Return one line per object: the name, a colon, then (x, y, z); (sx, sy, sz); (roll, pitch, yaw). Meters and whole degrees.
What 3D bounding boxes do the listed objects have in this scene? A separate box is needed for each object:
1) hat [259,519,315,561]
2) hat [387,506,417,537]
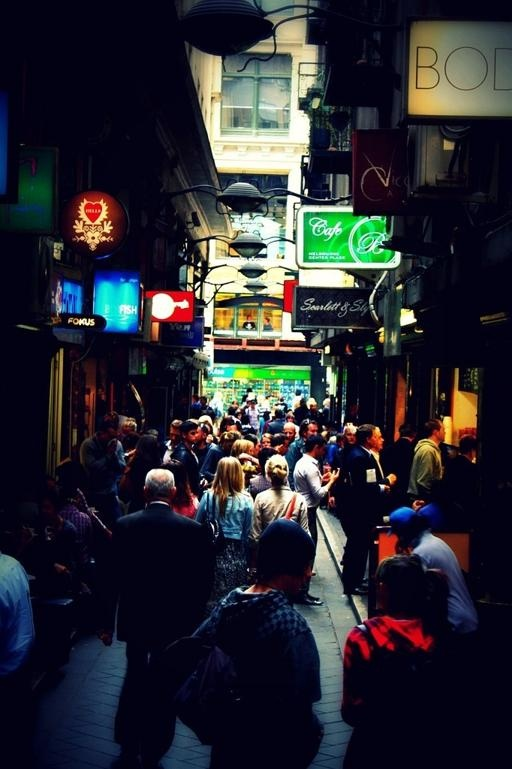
hat: (0.117, 0.575, 2.678); (0.207, 0.148, 0.189); (6, 1, -6)
hat: (0.903, 0.847, 4.457); (0.153, 0.172, 0.187); (6, 1, 13)
